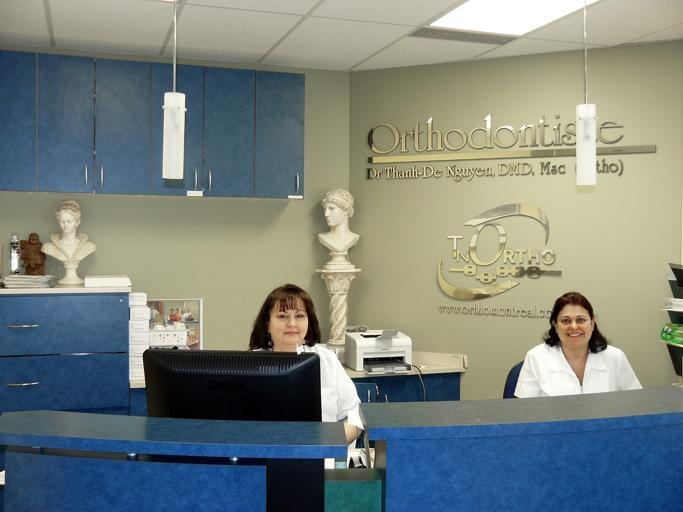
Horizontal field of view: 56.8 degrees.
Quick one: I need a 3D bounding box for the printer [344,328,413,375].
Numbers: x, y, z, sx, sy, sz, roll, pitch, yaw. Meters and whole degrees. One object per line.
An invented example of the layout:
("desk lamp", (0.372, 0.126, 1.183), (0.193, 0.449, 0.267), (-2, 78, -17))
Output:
("printer", (0.248, 0.672, 4.646), (0.342, 0.223, 0.362), (0, -3, -16))
